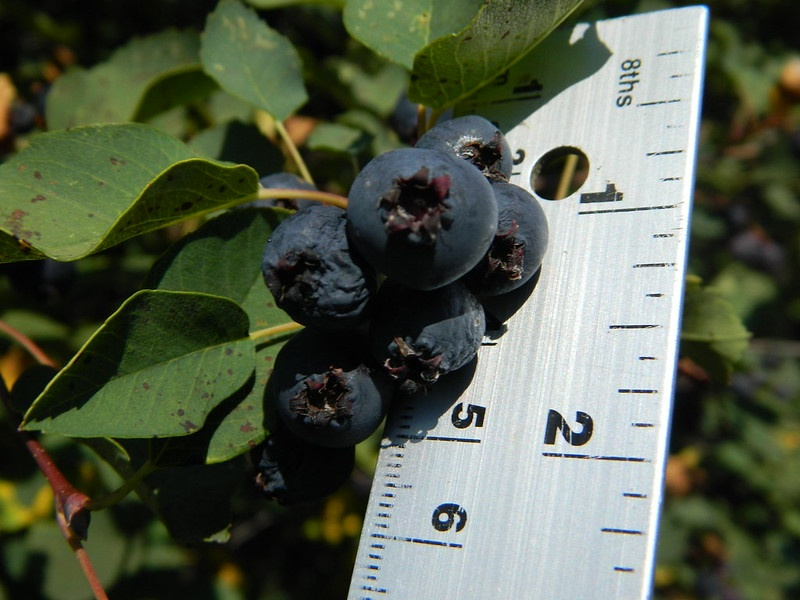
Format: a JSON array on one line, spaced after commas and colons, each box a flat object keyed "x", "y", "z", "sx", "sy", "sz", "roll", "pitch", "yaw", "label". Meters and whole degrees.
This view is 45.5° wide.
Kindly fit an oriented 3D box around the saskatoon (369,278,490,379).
[{"x": 0.074, "y": 0.075, "z": 2.486, "sx": 0.237, "sy": 0.286, "sz": 0.201, "roll": 15, "pitch": 95, "yaw": 21, "label": "saskatoon"}]
